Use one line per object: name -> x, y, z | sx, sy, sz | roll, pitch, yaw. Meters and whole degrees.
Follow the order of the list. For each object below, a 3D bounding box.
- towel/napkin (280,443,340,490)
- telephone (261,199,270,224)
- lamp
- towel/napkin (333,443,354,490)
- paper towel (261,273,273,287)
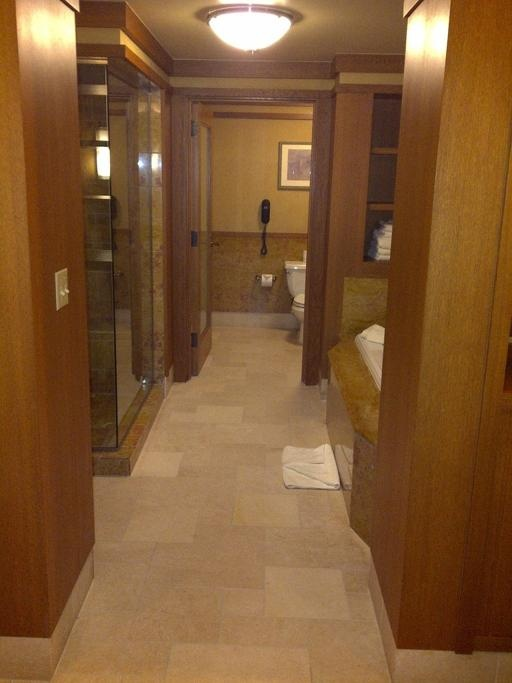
towel/napkin -> 0.277, 0.644, 2.875 | 0.293, 0.084, 0.423 | 2, 12, 3
telephone -> 0.099, -1.386, 5.863 | 0.109, 0.265, 0.107 | 1, 10, 0
lamp -> -0.039, -1.469, 2.525 | 0.496, 0.131, 0.408 | 3, 12, 3
towel/napkin -> 0.430, 0.602, 2.695 | 0.047, 0.158, 0.140 | -5, -2, 8
paper towel -> 0.115, -0.661, 5.907 | 0.129, 0.157, 0.105 | 0, 7, 1
